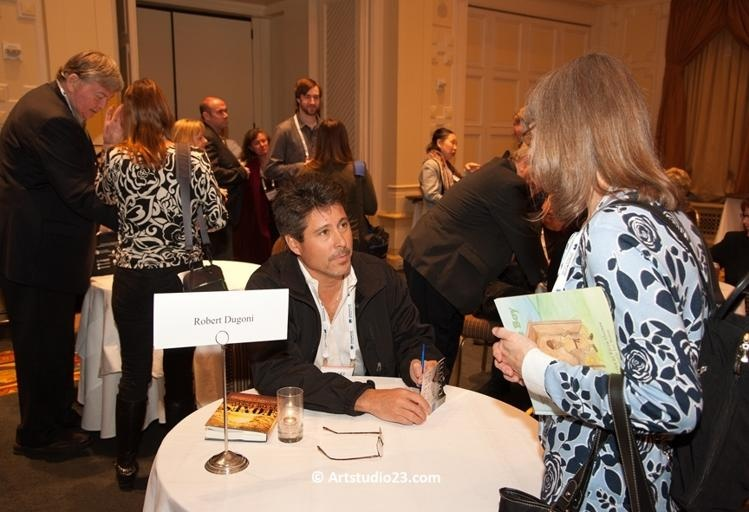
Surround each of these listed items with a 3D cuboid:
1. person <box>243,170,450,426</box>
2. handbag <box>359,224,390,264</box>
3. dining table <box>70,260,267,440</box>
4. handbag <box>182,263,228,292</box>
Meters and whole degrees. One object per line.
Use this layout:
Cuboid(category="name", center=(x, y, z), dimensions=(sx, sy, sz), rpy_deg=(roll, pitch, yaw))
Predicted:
Cuboid(category="person", center=(-0.053, 0.101, 2.364), dimensions=(0.704, 1.024, 0.919), rpy_deg=(-9, 9, -37))
Cuboid(category="handbag", center=(-0.005, -0.144, 4.628), dimensions=(0.289, 0.288, 0.207), rpy_deg=(35, 53, 25))
Cuboid(category="dining table", center=(-1.428, 0.585, 3.518), dimensions=(0.931, 0.791, 1.021), rpy_deg=(3, 1, -9))
Cuboid(category="handbag", center=(-0.886, 0.114, 2.789), dimensions=(0.098, 0.106, 0.059), rpy_deg=(-13, -14, -35))
